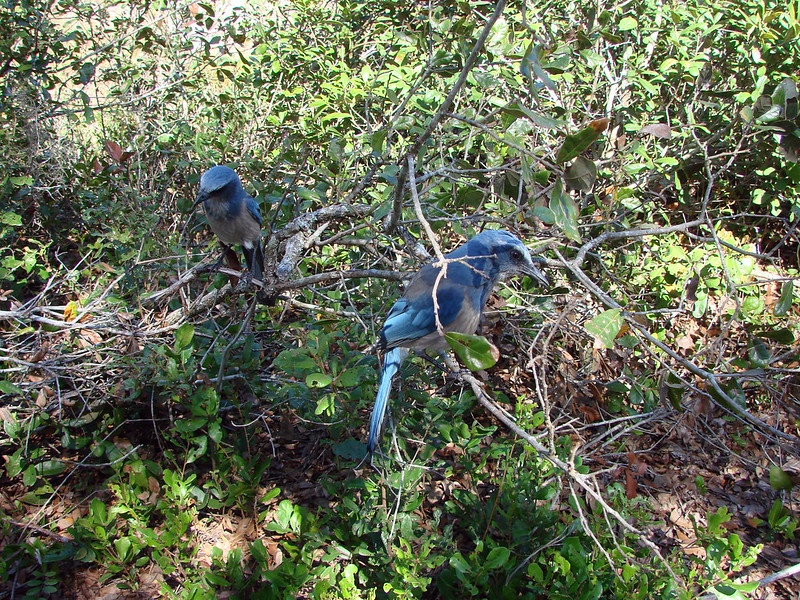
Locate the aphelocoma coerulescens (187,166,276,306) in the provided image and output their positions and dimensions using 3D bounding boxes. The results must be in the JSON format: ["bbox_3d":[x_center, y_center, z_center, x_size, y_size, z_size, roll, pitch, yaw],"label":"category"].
[{"bbox_3d":[-1.387,-0.676,5.758,0.451,0.959,1.167,7,9,17],"label":"aphelocoma coerulescens"}]
